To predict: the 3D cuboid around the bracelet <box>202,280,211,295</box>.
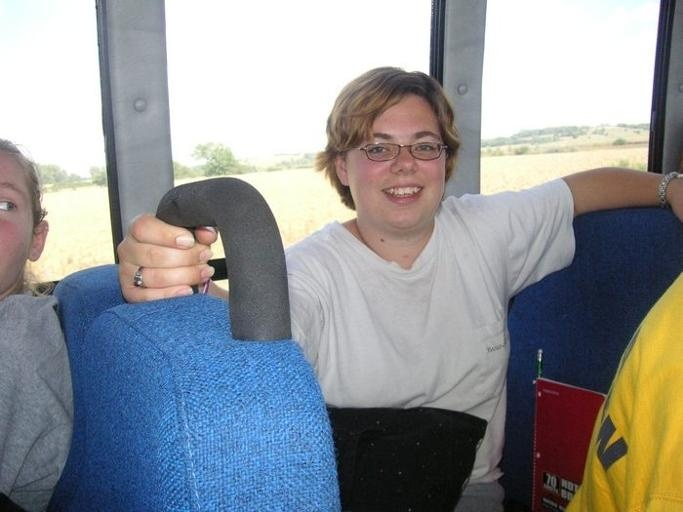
[{"bbox_3d":[-0.308,0.071,1.300,0.011,0.033,0.023,1,-12,36],"label":"bracelet"}]
